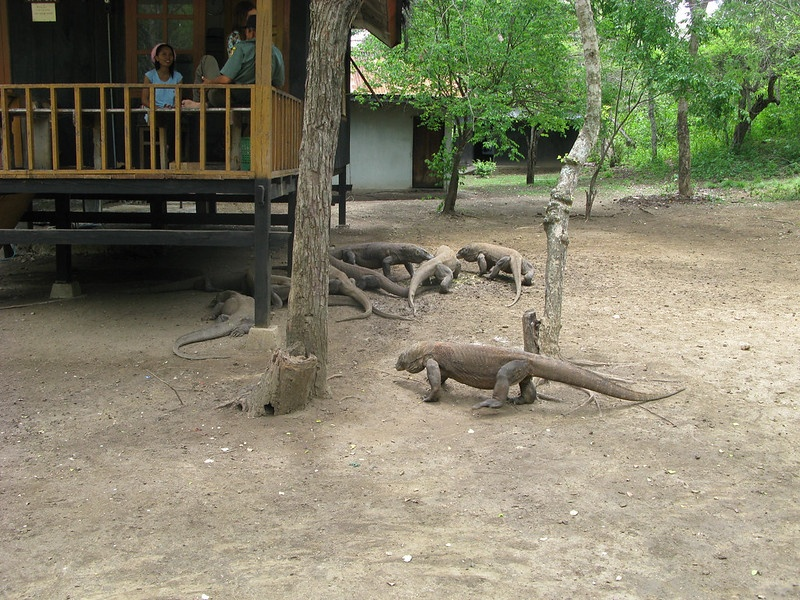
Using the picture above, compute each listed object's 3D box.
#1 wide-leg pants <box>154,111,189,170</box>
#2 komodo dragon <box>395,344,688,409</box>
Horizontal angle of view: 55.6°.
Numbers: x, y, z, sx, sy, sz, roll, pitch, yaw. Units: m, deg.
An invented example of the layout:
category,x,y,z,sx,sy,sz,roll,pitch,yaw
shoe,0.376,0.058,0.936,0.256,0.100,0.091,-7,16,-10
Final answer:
category,x,y,z,sx,sy,sz,roll,pitch,yaw
wide-leg pants,-3.914,-2.755,12.824,0.812,0.990,0.867,4,13,-22
komodo dragon,1.187,0.756,8.530,3.169,0.732,1.030,4,2,29
